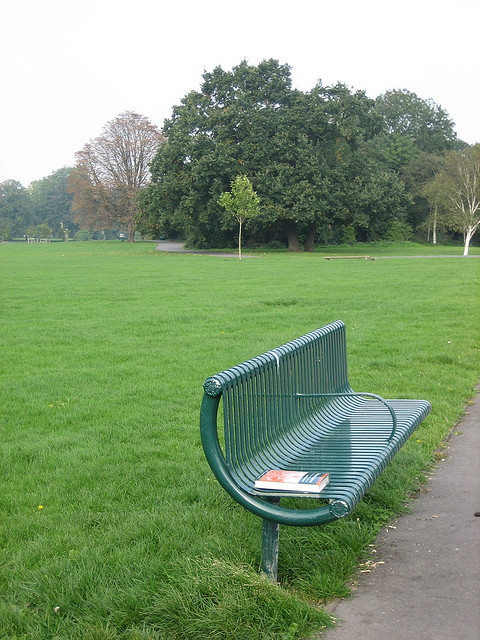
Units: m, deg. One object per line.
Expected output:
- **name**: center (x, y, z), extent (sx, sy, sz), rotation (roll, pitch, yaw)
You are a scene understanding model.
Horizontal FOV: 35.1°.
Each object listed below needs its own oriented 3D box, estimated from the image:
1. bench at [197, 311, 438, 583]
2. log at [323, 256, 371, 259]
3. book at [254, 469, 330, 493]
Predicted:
- **bench**: center (0.648, 0.791, 4.762), extent (0.742, 1.277, 2.492), rotation (2, 6, 23)
- **log**: center (5.552, -3.330, 40.226), extent (1.834, 0.092, 3.449), rotation (0, 6, 25)
- **book**: center (0.251, 0.799, 3.788), extent (0.359, 0.066, 0.293), rotation (-1, 5, 17)
